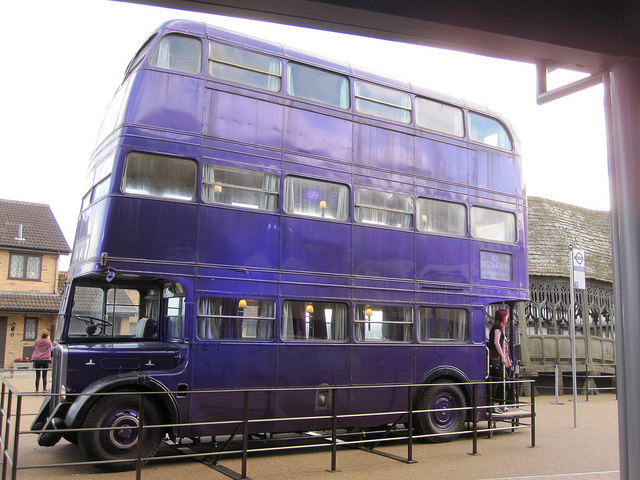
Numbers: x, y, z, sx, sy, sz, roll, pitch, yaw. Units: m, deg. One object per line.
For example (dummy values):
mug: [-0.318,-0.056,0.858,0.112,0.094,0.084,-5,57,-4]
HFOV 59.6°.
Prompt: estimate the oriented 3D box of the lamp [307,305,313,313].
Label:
lamp: [-0.217,1.422,11.640,0.117,0.141,0.123,2,-5,-9]

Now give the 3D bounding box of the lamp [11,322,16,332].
lamp: [-17.855,4.991,32.553,0.148,0.445,0.153,13,-3,-21]

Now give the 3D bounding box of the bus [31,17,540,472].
bus: [-0.596,0.564,11.198,7.638,5.872,3.082,5,-10,-27]

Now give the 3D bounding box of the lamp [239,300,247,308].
lamp: [-1.502,1.248,10.885,0.118,0.098,0.122,2,-5,-23]
